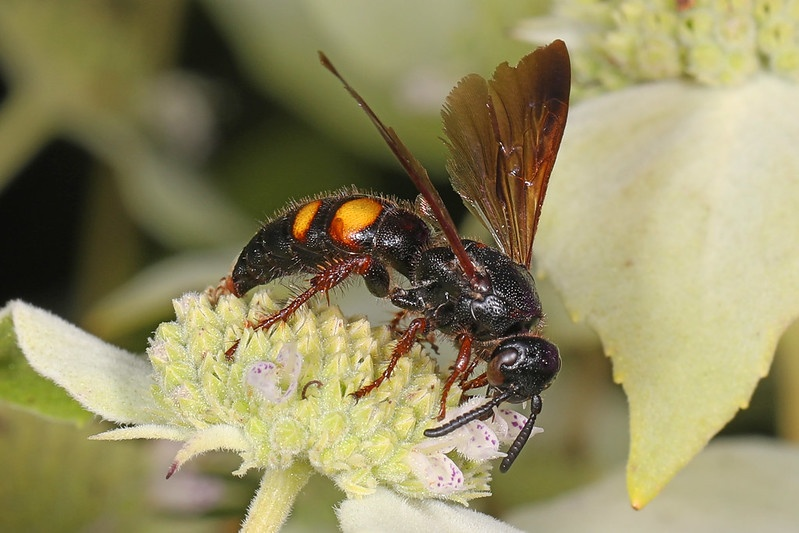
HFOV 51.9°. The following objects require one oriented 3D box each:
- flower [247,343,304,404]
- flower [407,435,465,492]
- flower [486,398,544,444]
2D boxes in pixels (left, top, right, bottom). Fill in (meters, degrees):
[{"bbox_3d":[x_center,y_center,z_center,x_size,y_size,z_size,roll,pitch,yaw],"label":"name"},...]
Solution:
[{"bbox_3d":[-0.244,0.190,1.551,0.115,0.121,0.060,-9,97,19],"label":"flower"},{"bbox_3d":[0.069,0.382,1.561,0.089,0.039,0.110,-25,76,-2],"label":"flower"},{"bbox_3d":[0.231,0.310,1.654,0.099,0.078,0.032,16,71,23],"label":"flower"}]
